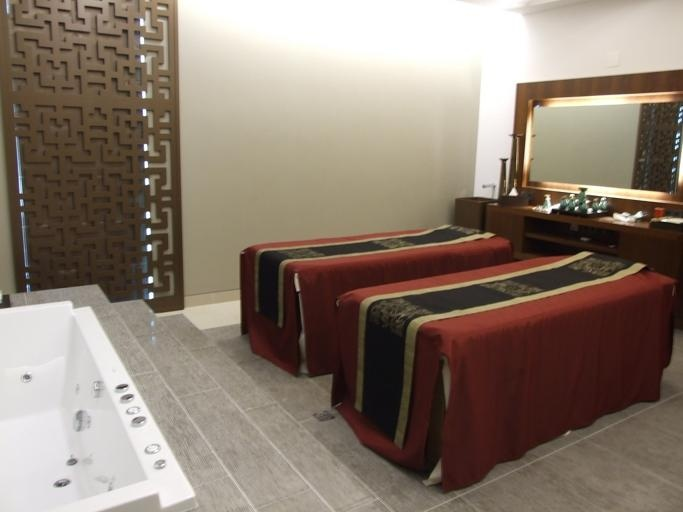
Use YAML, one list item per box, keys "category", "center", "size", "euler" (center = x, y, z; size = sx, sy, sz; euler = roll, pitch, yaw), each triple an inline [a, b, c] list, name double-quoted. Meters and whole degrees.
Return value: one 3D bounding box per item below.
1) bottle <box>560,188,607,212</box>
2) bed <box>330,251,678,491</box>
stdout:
- category: "bottle"
  center: [2.397, -0.514, 4.898]
  size: [0.313, 0.220, 0.316]
  euler: [-1, 8, 0]
- category: "bed"
  center: [0.977, 0.474, 2.911]
  size: [1.763, 0.804, 1.000]
  euler: [-8, 16, -28]
